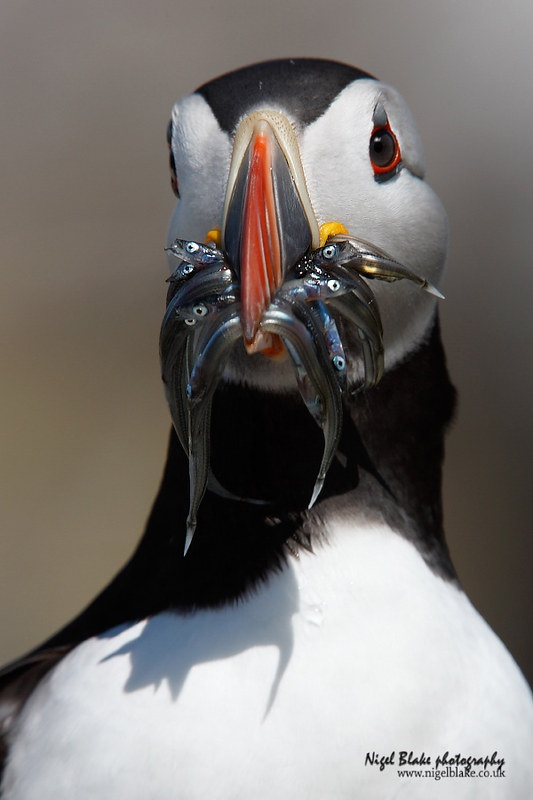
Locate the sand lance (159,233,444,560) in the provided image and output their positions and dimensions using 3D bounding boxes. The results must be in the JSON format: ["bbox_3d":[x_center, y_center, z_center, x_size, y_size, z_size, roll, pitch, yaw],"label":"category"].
[{"bbox_3d":[0.048,-0.004,0.927,0.310,0.328,0.318,-2,75,1],"label":"sand lance"}]
